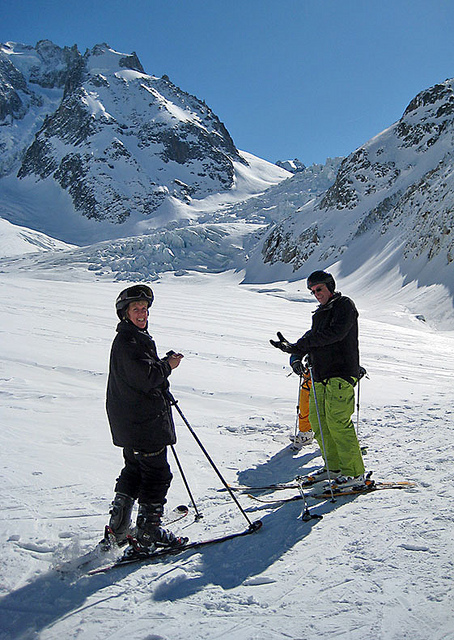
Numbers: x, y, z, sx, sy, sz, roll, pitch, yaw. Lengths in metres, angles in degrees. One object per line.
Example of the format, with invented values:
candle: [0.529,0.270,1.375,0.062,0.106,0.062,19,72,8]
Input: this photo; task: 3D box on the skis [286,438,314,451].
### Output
skis: [1.004,1.714,9.222,0.369,0.137,0.112,-12,27,-26]

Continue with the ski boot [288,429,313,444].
ski boot: [0.996,1.632,9.333,0.393,0.209,0.119,3,8,-3]

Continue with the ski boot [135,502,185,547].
ski boot: [-0.642,1.780,5.888,0.632,0.412,0.211,-1,6,-12]

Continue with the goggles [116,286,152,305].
goggles: [-0.805,-0.226,5.937,0.231,0.069,0.168,-20,-18,30]
